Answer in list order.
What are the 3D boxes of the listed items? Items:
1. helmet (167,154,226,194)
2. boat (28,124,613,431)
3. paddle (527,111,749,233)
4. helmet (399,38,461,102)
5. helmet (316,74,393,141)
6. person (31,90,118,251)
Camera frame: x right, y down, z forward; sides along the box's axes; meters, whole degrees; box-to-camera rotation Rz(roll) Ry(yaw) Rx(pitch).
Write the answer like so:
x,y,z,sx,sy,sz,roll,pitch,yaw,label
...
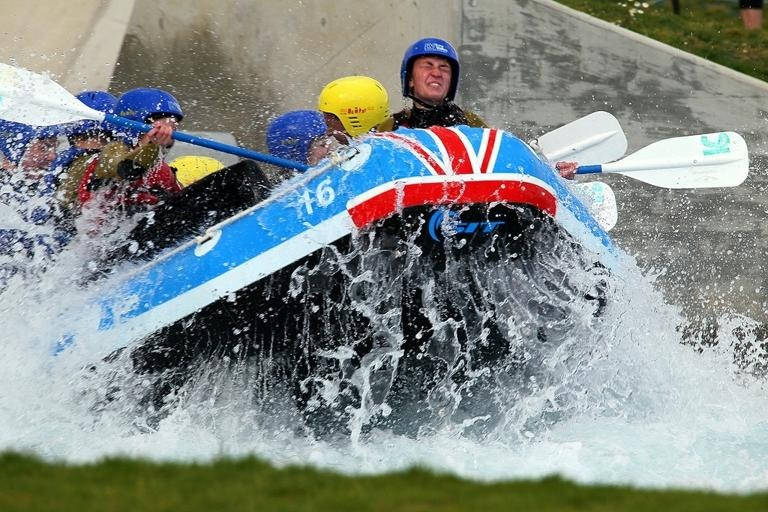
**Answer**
x,y,z,sx,sy,sz,roll,pitch,yaw,label
-1.414,-0.636,7.335,0.475,0.318,0.126,-14,67,2,helmet
-0.352,-0.078,6.168,2.879,1.674,0.649,-18,60,16,boat
2.005,-0.735,7.618,2.098,0.204,0.763,-3,80,11,paddle
0.321,-1.426,7.506,0.410,0.387,0.508,6,18,-5,helmet
-0.202,-1.087,7.063,0.530,0.372,0.347,-2,30,-5,helmet
-2.080,-0.699,6.845,0.304,0.191,1.266,29,49,-19,person
